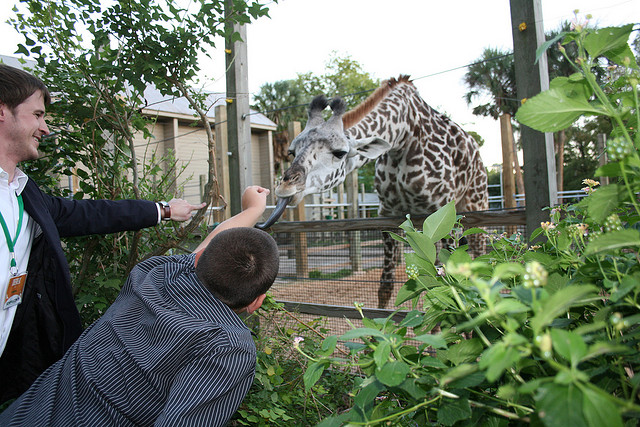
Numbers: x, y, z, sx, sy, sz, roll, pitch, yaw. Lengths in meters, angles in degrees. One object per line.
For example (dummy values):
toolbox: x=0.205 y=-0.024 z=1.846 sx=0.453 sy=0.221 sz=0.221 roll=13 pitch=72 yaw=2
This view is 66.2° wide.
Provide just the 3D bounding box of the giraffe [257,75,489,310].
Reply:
giraffe: x=0.828 y=-0.125 z=4.565 sx=2.533 sy=2.177 sz=0.860 roll=-4 pitch=5 yaw=-36
